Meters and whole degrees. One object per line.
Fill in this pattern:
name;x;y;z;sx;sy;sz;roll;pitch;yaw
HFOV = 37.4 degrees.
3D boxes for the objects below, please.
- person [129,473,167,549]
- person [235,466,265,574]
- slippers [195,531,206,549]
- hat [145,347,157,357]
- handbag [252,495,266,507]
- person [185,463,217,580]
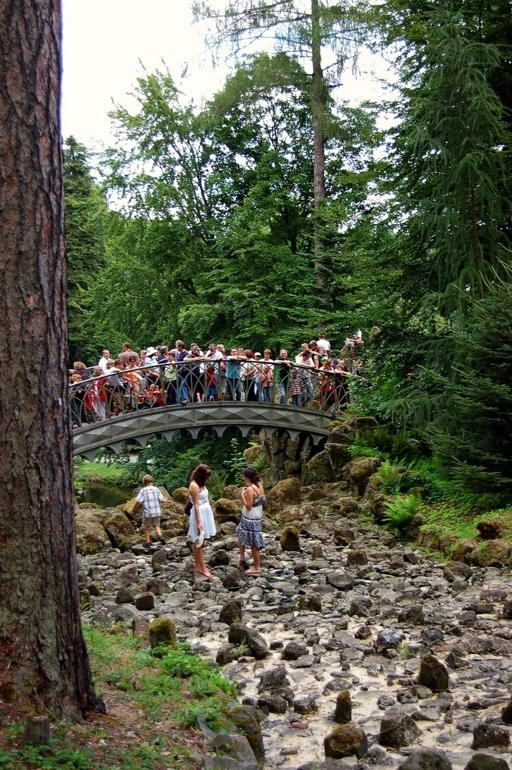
person;-1.850;2.013;13.064;0.485;1.073;2.084;1;0;-8
person;-0.074;1.782;10.142;0.360;1.359;1.181;1;0;-2
slippers;-0.713;1.959;9.568;0.122;0.214;0.412;1;0;-4
hat;-2.349;-0.719;16.994;0.249;0.070;0.254;-22;0;12
handbag;0.029;1.504;9.854;0.128;0.146;0.317;1;0;0
person;-0.708;1.745;9.663;0.359;1.380;1.008;1;0;-4
